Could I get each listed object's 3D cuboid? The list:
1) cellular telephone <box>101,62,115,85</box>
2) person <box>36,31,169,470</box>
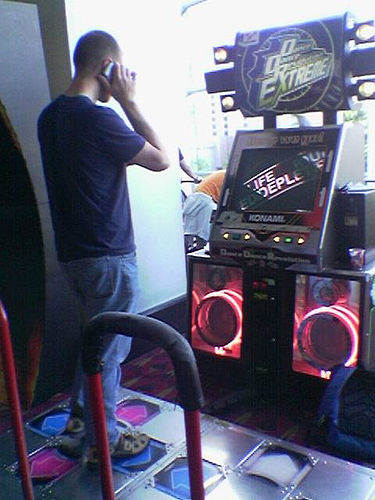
[{"bbox_3d":[-0.311,-0.703,1.576,0.014,0.060,0.060,18,60,35],"label":"cellular telephone"},{"bbox_3d":[-0.360,0.001,1.677,0.409,1.752,0.492,-7,7,-42],"label":"person"}]
